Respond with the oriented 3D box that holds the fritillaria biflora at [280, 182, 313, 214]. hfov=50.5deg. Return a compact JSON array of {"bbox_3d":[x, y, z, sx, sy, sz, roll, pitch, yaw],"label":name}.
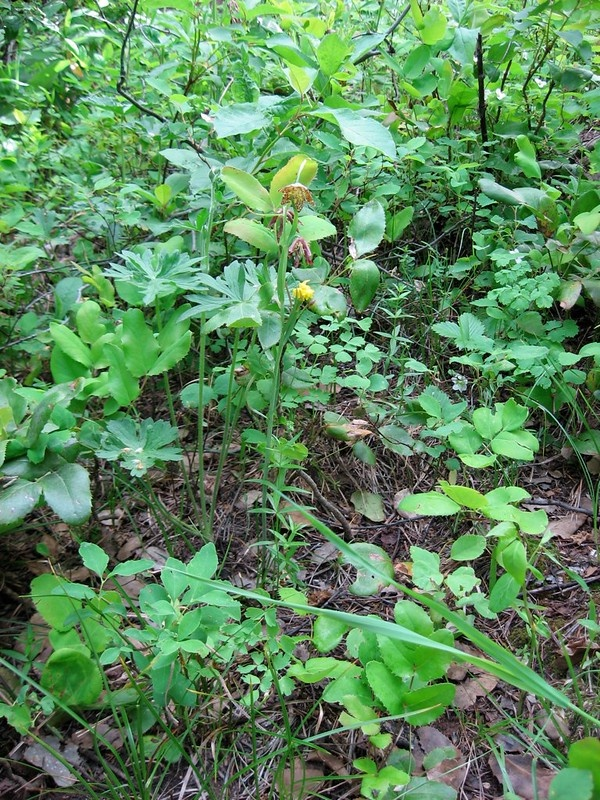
[{"bbox_3d":[-0.005,-0.408,1.284,0.063,0.056,0.068,0,28,0],"label":"fritillaria biflora"}]
